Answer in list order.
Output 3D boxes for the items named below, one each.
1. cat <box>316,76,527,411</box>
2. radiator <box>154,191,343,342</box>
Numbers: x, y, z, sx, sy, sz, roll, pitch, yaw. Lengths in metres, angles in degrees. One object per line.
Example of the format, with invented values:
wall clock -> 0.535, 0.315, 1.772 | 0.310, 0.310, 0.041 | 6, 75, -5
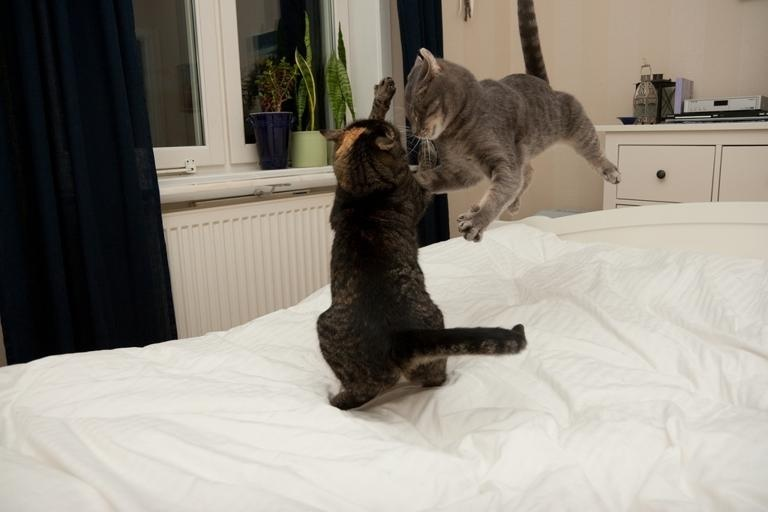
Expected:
cat -> 0.061, -0.173, 1.522 | 0.339, 1.086, 0.515 | -8, -10, 22
radiator -> -0.586, 0.036, 2.268 | 0.526, 0.418, 0.038 | -16, 18, -41
